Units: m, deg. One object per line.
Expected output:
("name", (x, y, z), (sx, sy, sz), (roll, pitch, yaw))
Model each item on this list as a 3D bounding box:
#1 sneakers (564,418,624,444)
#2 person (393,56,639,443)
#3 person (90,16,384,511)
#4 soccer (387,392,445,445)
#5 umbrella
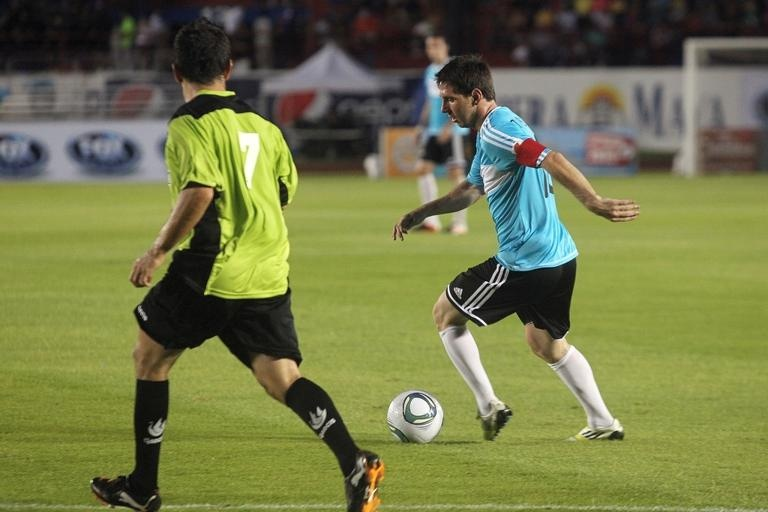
("sneakers", (1.540, 1.268, 9.029), (0.457, 0.166, 0.151), (-1, -4, 1))
("person", (0.916, -0.032, 8.779), (1.434, 2.725, 0.783), (-1, 9, 13))
("person", (-1.028, 0.067, 8.032), (1.691, 3.127, 0.776), (-3, 9, 0))
("soccer", (0.231, 1.165, 9.075), (0.456, 0.383, 0.424), (-3, 21, 3))
("umbrella", (-1.305, -3.072, 27.317), (2.948, 1.510, 2.562), (-2, 7, -10))
